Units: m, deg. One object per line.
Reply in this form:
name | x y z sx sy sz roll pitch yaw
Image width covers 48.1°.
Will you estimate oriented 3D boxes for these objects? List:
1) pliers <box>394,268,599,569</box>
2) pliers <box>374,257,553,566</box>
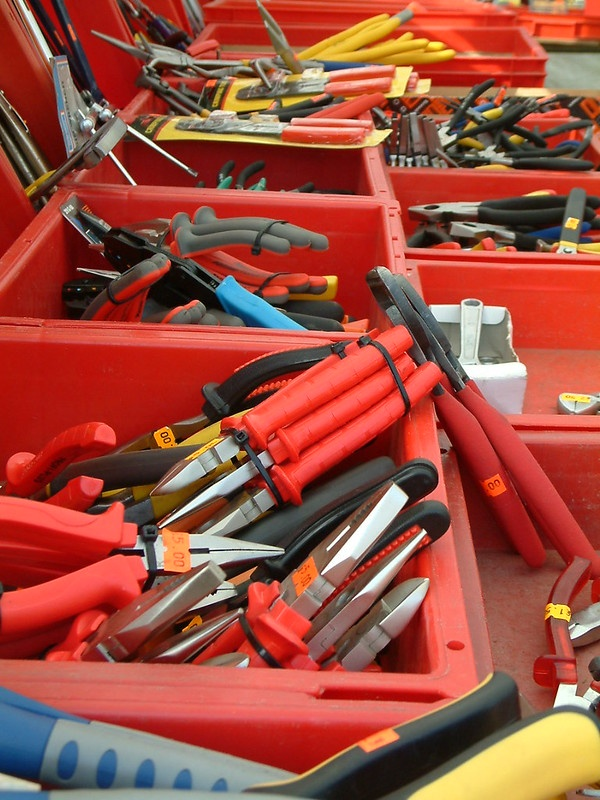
pliers | 0.294 0.023 0.988 0.104 0.605 0.048 -35 -5 -30
pliers | 0.226 0.048 0.906 0.173 0.481 0.134 -12 15 5
